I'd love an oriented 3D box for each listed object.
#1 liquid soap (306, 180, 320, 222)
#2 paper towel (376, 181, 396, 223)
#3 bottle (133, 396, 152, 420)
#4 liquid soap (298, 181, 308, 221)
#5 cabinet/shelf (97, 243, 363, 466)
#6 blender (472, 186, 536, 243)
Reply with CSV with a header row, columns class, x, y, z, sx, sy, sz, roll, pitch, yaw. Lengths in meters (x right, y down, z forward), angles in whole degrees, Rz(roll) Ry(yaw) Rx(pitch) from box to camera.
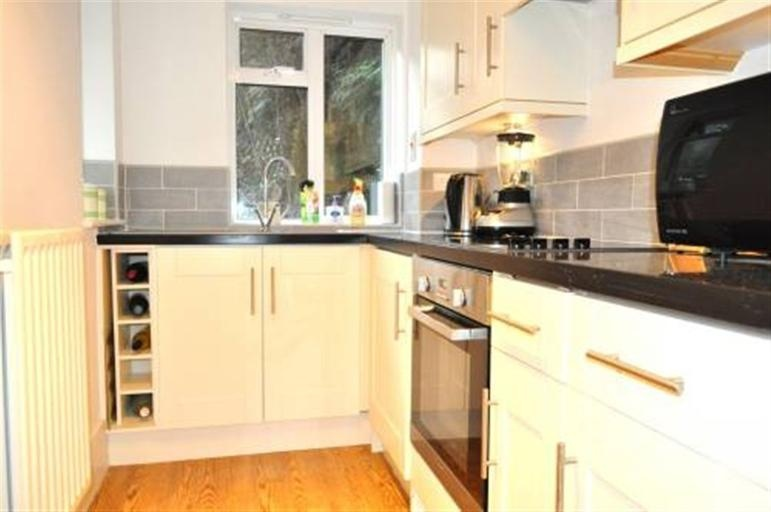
class,x,y,z,sx,sy,sz,roll,pitch,yaw
liquid soap,-0.463,-0.349,3.800,0.062,0.267,0.123,0,10,0
paper towel,0.009,-0.342,3.832,0.140,0.271,0.098,0,-5,-4
bottle,-1.286,0.803,3.099,0.099,0.097,0.024,-6,-20,16
liquid soap,-0.530,-0.356,3.786,0.050,0.257,0.129,-2,10,-8
cabinet/shelf,-0.808,0.477,3.215,1.332,1.099,0.482,-2,-2,-13
blender,0.577,-0.197,2.789,0.279,0.245,0.288,2,4,14
